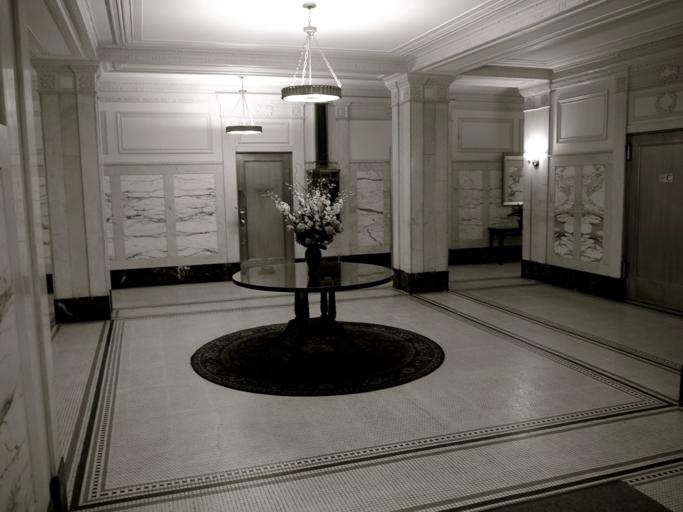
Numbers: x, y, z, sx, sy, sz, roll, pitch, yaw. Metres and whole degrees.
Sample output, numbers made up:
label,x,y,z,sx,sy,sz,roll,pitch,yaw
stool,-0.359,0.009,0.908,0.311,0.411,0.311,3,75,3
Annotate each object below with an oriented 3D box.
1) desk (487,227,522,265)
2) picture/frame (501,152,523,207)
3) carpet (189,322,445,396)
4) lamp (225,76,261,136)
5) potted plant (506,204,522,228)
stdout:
label,x,y,z,sx,sy,sz,roll,pitch,yaw
desk,4.147,-0.287,11.904,0.763,0.720,0.528,-4,-1,24
picture/frame,4.182,-1.840,12.080,0.577,1.218,0.176,-6,11,-20
carpet,-0.276,1.077,5.836,2.870,0.349,2.002,-2,10,1
lamp,-1.961,-2.931,9.798,0.772,0.974,1.265,-4,10,-10
potted plant,4.346,-0.985,12.192,0.473,0.519,0.525,-3,5,14
